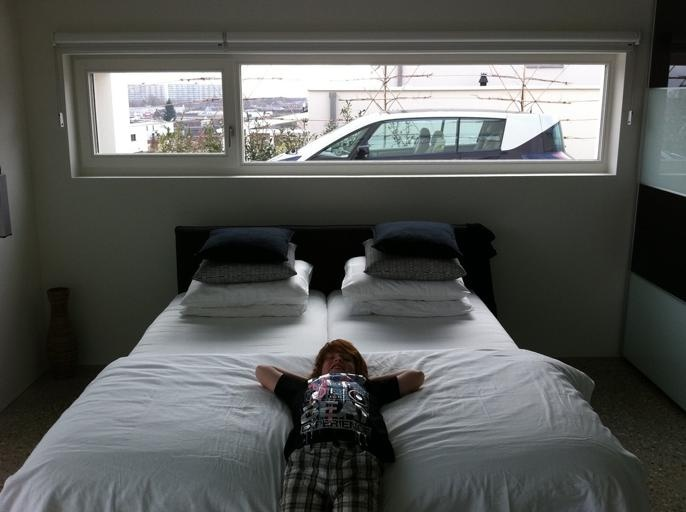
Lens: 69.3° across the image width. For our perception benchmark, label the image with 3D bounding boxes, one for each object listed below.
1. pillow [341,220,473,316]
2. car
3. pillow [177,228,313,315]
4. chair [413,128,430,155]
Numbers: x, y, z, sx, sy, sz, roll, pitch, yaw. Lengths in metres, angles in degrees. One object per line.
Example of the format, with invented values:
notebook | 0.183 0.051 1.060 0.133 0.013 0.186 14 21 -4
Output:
pillow | 0.398 0.128 3.111 0.639 0.372 0.632 0 19 3
car | 0.603 -0.861 4.161 2.332 0.730 0.759 1 21 1
pillow | -0.618 0.109 3.015 0.500 0.144 0.529 -4 34 2
chair | 0.607 -0.874 3.802 0.129 0.182 0.157 0 47 -5
